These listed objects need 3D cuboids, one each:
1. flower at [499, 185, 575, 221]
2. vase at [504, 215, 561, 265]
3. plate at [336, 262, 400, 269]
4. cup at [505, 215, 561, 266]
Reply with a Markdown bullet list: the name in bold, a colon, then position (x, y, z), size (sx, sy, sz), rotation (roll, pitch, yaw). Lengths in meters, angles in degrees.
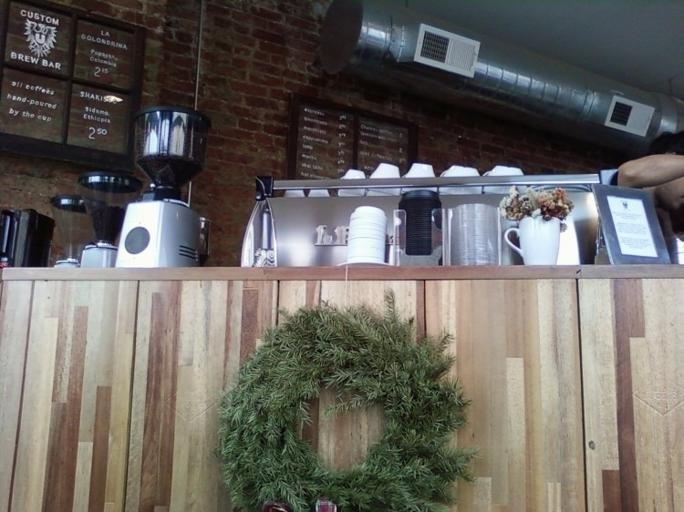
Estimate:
- **flower**: position (0.645, -0.162, 1.998), size (0.138, 0.095, 0.162), rotation (9, -9, -39)
- **vase**: position (0.639, -0.043, 2.028), size (0.135, 0.155, 0.203), rotation (7, -8, -30)
- **plate**: position (0.080, 0.028, 1.949), size (0.186, 0.030, 0.142), rotation (0, -6, 4)
- **cup**: position (0.637, -0.038, 2.011), size (0.197, 0.151, 0.132), rotation (0, -13, 29)
